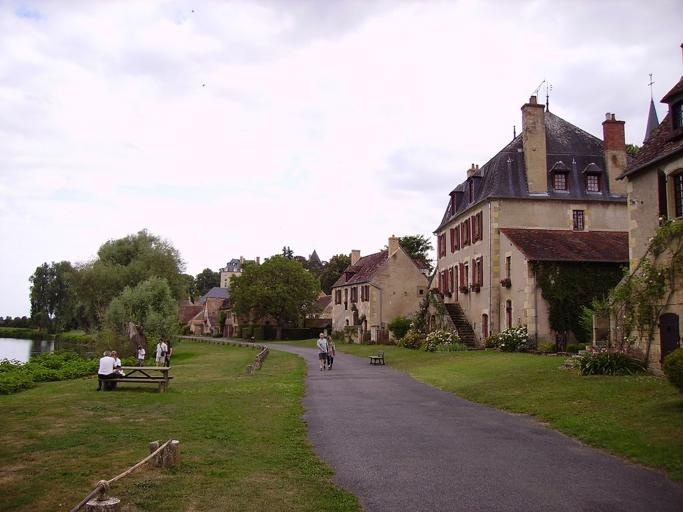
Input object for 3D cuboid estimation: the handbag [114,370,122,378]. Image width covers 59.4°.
[{"bbox_3d":[-8.218,4.336,22.009,0.198,0.110,0.325,1,-4,-12],"label":"handbag"}]
